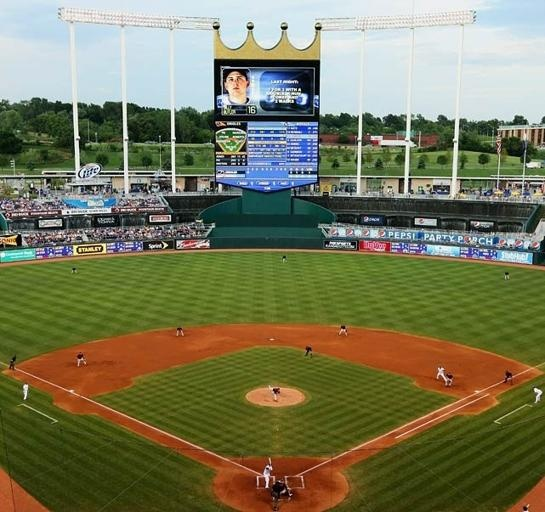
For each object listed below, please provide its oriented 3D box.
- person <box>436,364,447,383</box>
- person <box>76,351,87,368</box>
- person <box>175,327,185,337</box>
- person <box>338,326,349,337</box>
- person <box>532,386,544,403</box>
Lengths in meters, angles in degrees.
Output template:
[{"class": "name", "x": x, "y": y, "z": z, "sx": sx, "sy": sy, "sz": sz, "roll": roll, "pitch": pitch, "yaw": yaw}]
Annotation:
[{"class": "person", "x": 9.913, "y": 6.926, "z": 41.101, "sx": 0.540, "sy": 0.474, "sz": 1.043, "roll": -2, "pitch": 19, "yaw": 10}, {"class": "person", "x": -11.723, "y": 6.322, "z": 42.833, "sx": 0.762, "sy": 0.510, "sz": 0.970, "roll": -1, "pitch": 0, "yaw": -13}, {"class": "person", "x": -6.408, "y": 5.271, "z": 48.407, "sx": 0.585, "sy": 0.338, "sz": 0.748, "roll": 0, "pitch": -17, "yaw": -11}, {"class": "person", "x": 4.921, "y": 5.234, "z": 49.151, "sx": 0.623, "sy": 0.724, "sz": 0.760, "roll": 1, "pitch": 39, "yaw": 6}, {"class": "person", "x": 14.561, "y": 7.363, "z": 38.455, "sx": 0.526, "sy": 0.886, "sz": 1.897, "roll": 6, "pitch": 14, "yaw": 22}]
